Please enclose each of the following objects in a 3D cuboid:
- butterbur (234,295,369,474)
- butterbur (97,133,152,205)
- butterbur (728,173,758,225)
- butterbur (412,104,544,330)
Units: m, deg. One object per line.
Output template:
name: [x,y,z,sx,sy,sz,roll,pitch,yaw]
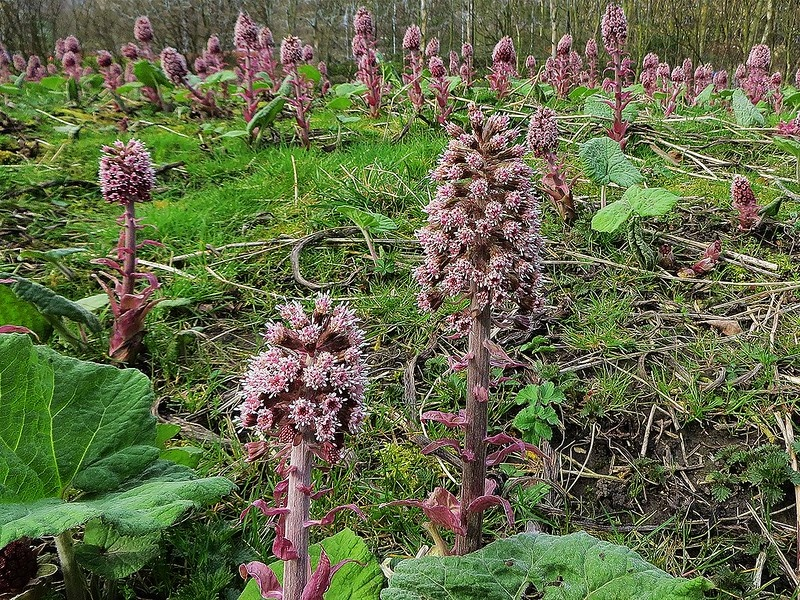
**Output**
butterbur: [-0.320,0.260,2.299,0.427,0.504,0.317,-5,22,2]
butterbur: [-1.405,-0.666,3.576,0.257,0.314,0.279,-13,22,-18]
butterbur: [2.203,-0.638,4.454,0.160,0.359,0.220,4,24,24]
butterbur: [0.273,-0.328,2.606,0.487,0.760,0.453,-6,22,1]
